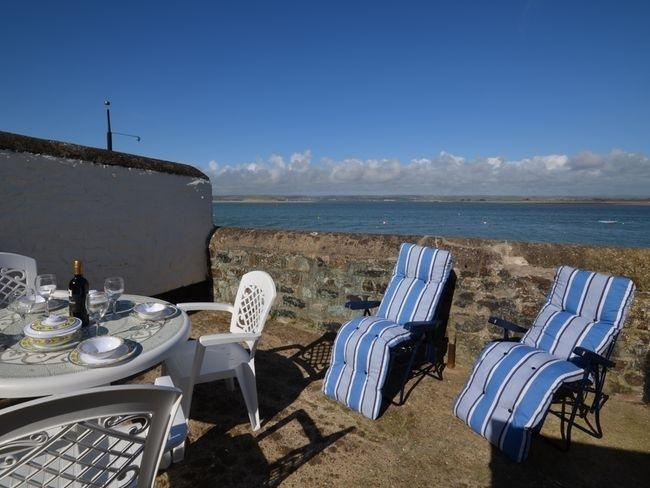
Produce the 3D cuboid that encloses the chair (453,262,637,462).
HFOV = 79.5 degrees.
[{"bbox_3d":[1.839,0.932,3.259,1.173,1.365,0.908,-5,12,-37],"label":"chair"}]

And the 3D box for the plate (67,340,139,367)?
[{"bbox_3d":[-1.349,0.659,2.411,0.393,0.094,0.305,-3,10,-33],"label":"plate"}]

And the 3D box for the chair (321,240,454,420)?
[{"bbox_3d":[0.649,0.760,3.822,0.768,1.410,1.160,10,12,39],"label":"chair"}]

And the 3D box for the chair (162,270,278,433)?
[{"bbox_3d":[-0.968,0.903,3.327,0.926,1.120,0.890,0,10,-21],"label":"chair"}]

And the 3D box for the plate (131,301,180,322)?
[{"bbox_3d":[-1.277,0.509,2.958,0.183,0.049,0.182,14,13,28],"label":"plate"}]

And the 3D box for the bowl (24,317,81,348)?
[{"bbox_3d":[-1.818,0.558,2.612,0.321,0.157,0.342,4,14,-1],"label":"bowl"}]
